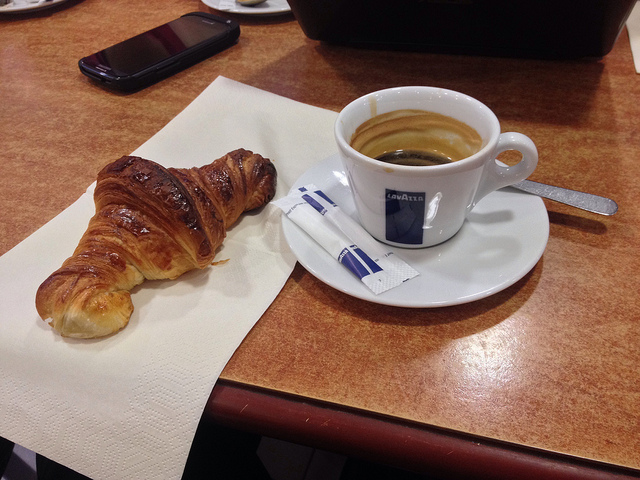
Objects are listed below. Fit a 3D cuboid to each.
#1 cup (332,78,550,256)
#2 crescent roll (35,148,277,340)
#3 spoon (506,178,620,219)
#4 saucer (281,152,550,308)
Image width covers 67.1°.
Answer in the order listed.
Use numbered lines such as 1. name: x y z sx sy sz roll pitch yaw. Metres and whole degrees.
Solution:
1. cup: 0.122 -0.069 0.540 0.175 0.134 0.203 -29 48 -23
2. crescent roll: -0.181 -0.001 0.603 0.278 0.115 0.145 -35 57 -21
3. spoon: 0.282 -0.046 0.559 0.125 0.005 0.022 21 69 31
4. saucer: 0.116 -0.049 0.622 0.329 0.159 0.372 1 21 -7
